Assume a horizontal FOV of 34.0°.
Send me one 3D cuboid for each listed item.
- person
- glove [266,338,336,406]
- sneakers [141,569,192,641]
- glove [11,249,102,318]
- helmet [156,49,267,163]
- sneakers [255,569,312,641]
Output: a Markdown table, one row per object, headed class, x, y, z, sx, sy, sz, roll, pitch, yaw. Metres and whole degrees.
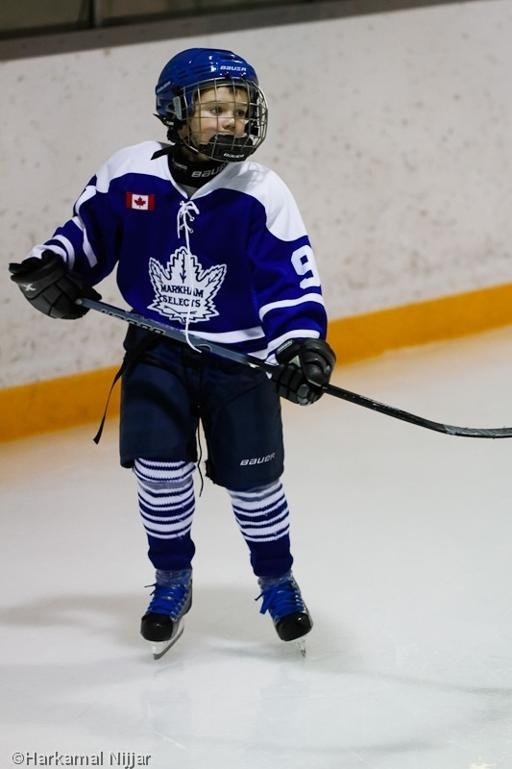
| class | x | y | z | sx | sy | sz | roll | pitch | yaw |
| --- | --- | --- | --- | --- | --- | --- | --- | --- | --- |
| person | -0.128 | -0.036 | 1.620 | 0.660 | 1.141 | 0.553 | 6 | 12 | 21 |
| glove | 0.071 | -0.031 | 1.466 | 0.104 | 0.110 | 0.134 | -1 | 11 | -37 |
| sneakers | -0.174 | 0.460 | 1.779 | 0.066 | 0.074 | 0.204 | 2 | 17 | 11 |
| glove | -0.408 | -0.191 | 1.676 | 0.136 | 0.080 | 0.209 | 31 | -1 | 23 |
| helmet | -0.068 | -0.522 | 1.579 | 0.195 | 0.195 | 0.238 | -4 | 13 | -25 |
| sneakers | 0.054 | 0.465 | 1.778 | 0.070 | 0.072 | 0.180 | -26 | 9 | 0 |
